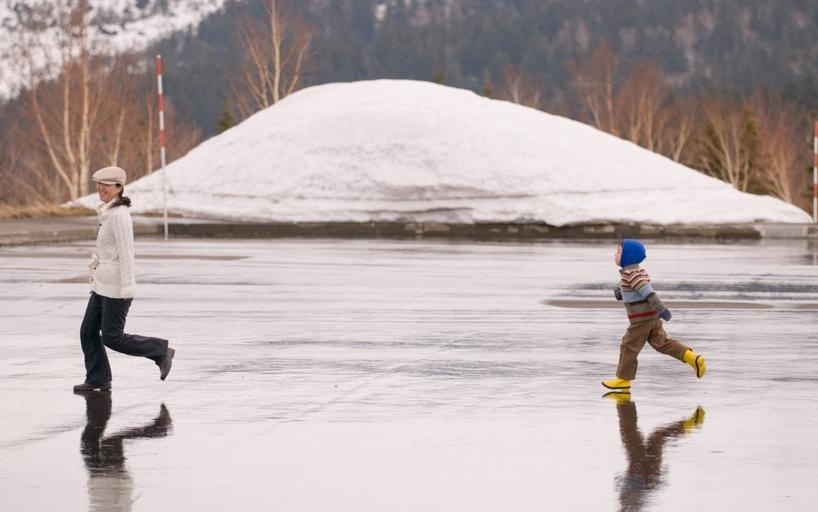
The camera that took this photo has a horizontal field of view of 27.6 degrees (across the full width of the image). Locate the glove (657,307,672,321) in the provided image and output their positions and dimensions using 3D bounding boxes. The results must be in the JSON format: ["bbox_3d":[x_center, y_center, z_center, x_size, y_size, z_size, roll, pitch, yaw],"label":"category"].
[{"bbox_3d":[11.443,2.753,74.884,0.631,0.779,0.453,6,21,33],"label":"glove"}]

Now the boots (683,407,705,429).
[{"bbox_3d":[12.561,7.397,73.722,0.793,0.873,0.368,-8,-14,0],"label":"boots"}]
